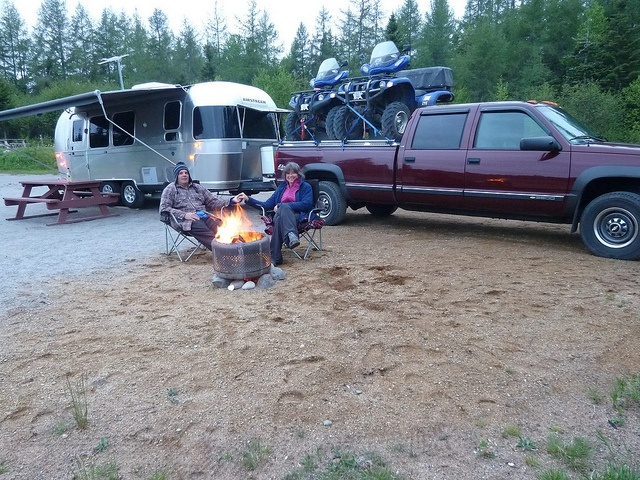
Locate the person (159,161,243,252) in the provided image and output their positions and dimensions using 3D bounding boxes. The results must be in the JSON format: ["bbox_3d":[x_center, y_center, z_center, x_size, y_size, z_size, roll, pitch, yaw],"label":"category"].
[{"bbox_3d":[-1.695,-0.441,6.720,0.983,1.052,1.710,-16,32,-41],"label":"person"}]

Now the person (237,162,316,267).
[{"bbox_3d":[-0.589,-0.448,6.494,1.106,1.559,1.003,2,-20,-8],"label":"person"}]

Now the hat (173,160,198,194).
[{"bbox_3d":[-2.090,-0.970,7.220,0.365,0.396,0.407,-21,2,-31],"label":"hat"}]

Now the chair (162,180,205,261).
[{"bbox_3d":[-2.100,-0.288,7.084,0.715,0.912,0.705,-3,10,-18],"label":"chair"}]

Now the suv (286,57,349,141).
[{"bbox_3d":[-0.226,-2.972,9.965,1.222,1.620,2.113,5,14,29],"label":"suv"}]

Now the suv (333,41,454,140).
[{"bbox_3d":[1.586,-2.917,9.603,1.567,1.943,2.639,9,13,40],"label":"suv"}]

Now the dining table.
[{"bbox_3d":[-5.896,-0.900,10.562,2.134,0.888,1.800,9,17,40],"label":"dining table"}]

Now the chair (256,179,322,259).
[{"bbox_3d":[-0.427,-0.403,6.553,0.895,1.287,1.076,-5,14,-9],"label":"chair"}]

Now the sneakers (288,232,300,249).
[{"bbox_3d":[-0.353,0.033,6.264,0.099,0.119,0.269,-14,-14,-9],"label":"sneakers"}]
